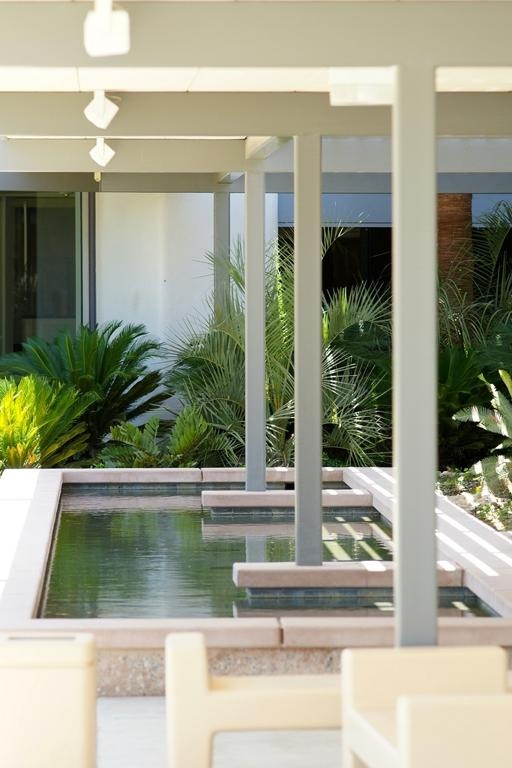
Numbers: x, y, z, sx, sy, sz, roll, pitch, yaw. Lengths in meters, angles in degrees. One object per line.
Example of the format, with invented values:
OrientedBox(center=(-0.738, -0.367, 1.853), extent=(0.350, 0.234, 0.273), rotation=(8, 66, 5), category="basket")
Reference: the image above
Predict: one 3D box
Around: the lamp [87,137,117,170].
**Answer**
OrientedBox(center=(-1.291, -1.945, 5.483), extent=(0.160, 0.264, 0.489), rotation=(1, -3, -9), category="lamp")
